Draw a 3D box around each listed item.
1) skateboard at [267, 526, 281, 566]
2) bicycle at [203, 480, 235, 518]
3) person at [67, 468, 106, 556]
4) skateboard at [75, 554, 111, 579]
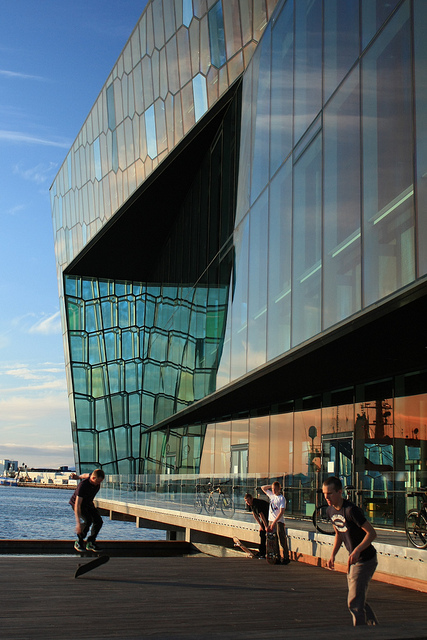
[{"bbox_3d":[1.021,3.996,11.733,0.240,0.377,0.589,4,-36,-12],"label":"skateboard"},{"bbox_3d":[0.065,4.583,16.656,0.486,0.787,1.132,9,-28,-20],"label":"bicycle"},{"bbox_3d":[-1.776,2.613,9.452,0.366,1.354,0.895,6,18,-9],"label":"person"},{"bbox_3d":[-1.652,3.293,8.973,0.431,0.263,0.302,4,-11,-15],"label":"skateboard"}]
